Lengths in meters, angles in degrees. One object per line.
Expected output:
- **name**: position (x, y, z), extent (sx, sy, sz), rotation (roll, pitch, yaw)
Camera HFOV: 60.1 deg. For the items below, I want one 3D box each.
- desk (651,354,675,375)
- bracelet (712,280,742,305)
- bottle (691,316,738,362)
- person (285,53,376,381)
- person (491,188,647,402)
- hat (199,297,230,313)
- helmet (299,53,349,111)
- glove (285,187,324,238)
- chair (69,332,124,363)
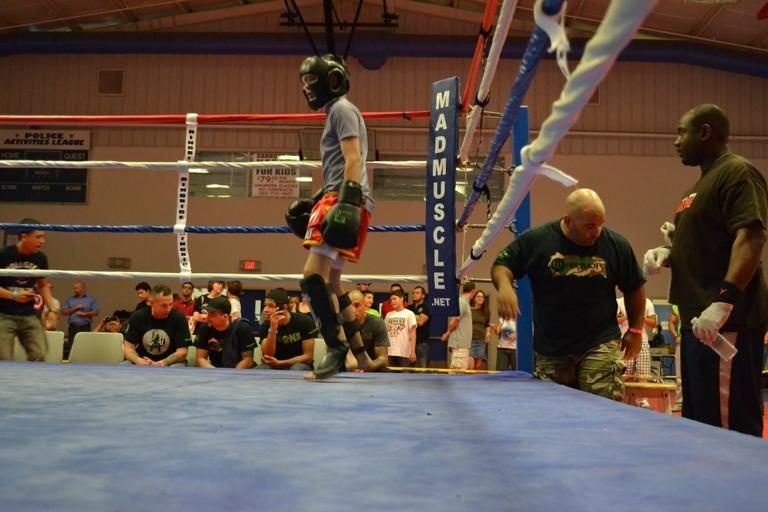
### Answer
- **desk**: position (4.073, 1.585, 9.725), extent (0.297, 0.375, 0.569), rotation (-1, -4, 22)
- **bracelet**: position (1.502, 0.161, 2.900), extent (0.092, 0.099, 0.065), rotation (4, 6, 28)
- **bottle**: position (1.481, 0.371, 2.959), extent (0.106, 0.109, 0.194), rotation (38, 11, -7)
- **person**: position (-0.272, -0.204, 3.453), extent (0.471, 1.779, 0.708), rotation (1, 5, -8)
- **person**: position (1.017, 0.458, 3.601), extent (0.781, 1.517, 0.594), rotation (-1, 1, 13)
- **hat**: position (-1.310, 0.387, 5.213), extent (0.164, 0.088, 0.117), rotation (15, -9, -29)
- **helmet**: position (-0.311, -0.933, 3.541), extent (0.257, 0.301, 0.284), rotation (-2, -1, 36)
- **glove**: position (-0.449, -0.247, 3.692), extent (0.203, 0.094, 0.271), rotation (29, 49, 17)
- **chair**: position (-2.213, 0.698, 5.065), extent (0.292, 0.381, 0.305), rotation (2, -3, -10)
